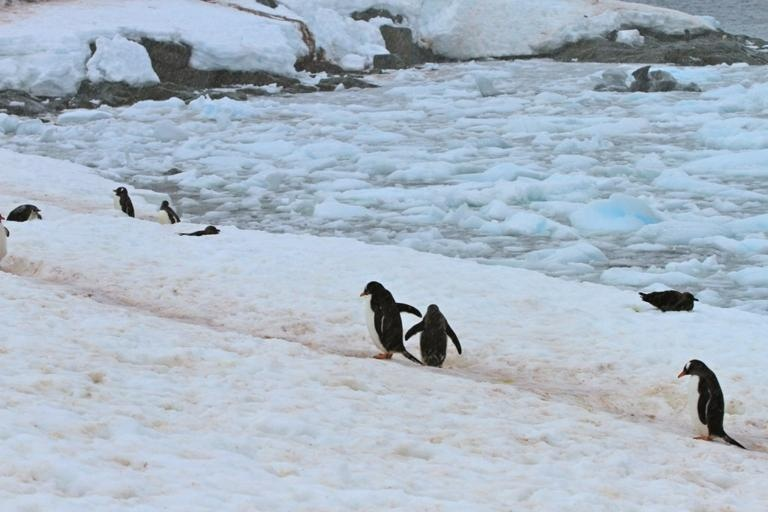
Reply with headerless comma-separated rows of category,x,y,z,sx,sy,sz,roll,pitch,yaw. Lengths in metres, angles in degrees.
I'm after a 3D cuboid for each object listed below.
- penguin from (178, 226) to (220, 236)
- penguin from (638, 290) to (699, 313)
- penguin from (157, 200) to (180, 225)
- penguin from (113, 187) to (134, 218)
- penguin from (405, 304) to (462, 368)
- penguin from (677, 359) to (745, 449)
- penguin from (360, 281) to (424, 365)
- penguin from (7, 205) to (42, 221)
penguin,-3.855,-0.522,22.977,0.943,0.257,0.239,1,17,-22
penguin,5.483,0.838,20.851,1.040,0.274,0.375,6,-4,19
penguin,-4.567,-0.952,23.614,0.349,0.489,0.435,5,11,13
penguin,-5.485,-1.169,23.732,0.353,0.620,0.568,-6,13,-35
penguin,0.896,1.418,19.242,1.019,1.091,0.528,0,14,-1
penguin,5.528,2.373,18.520,1.381,1.258,1.139,-18,25,-30
penguin,0.109,1.148,19.244,0.999,1.379,0.449,3,12,4
penguin,-7.178,-0.885,22.122,0.366,0.312,0.658,9,11,36
